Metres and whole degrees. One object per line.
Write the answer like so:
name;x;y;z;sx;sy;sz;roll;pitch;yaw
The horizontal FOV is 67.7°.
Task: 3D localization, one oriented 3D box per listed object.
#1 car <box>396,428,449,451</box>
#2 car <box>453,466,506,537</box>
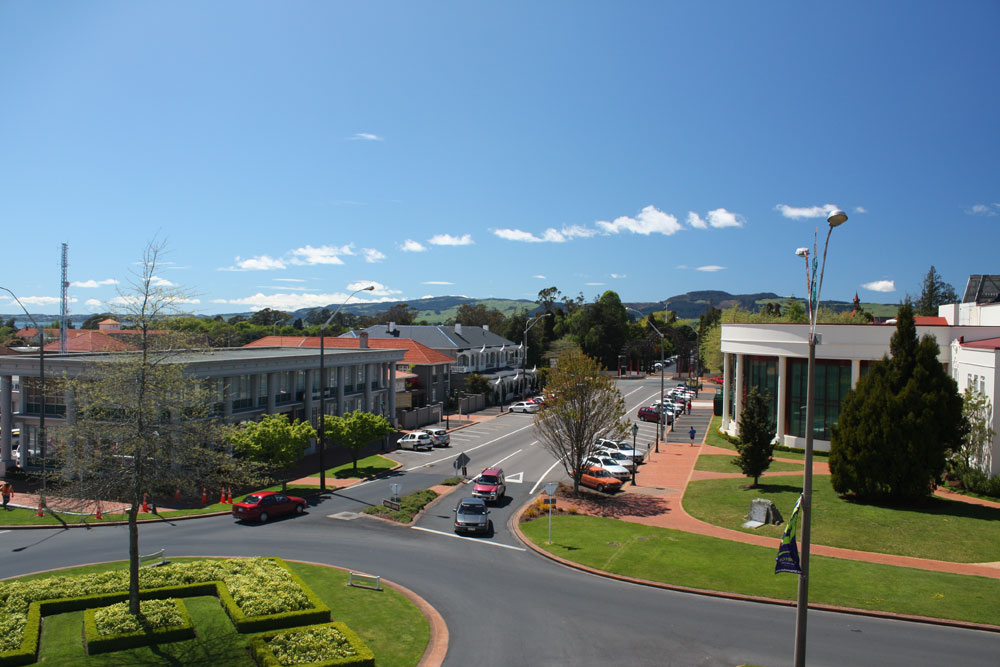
car;-7.580;10.531;74.006;5.263;1.656;2.392;1;-1;-38
car;-1.391;11.889;50.260;3.003;2.265;5.146;0;-2;0
